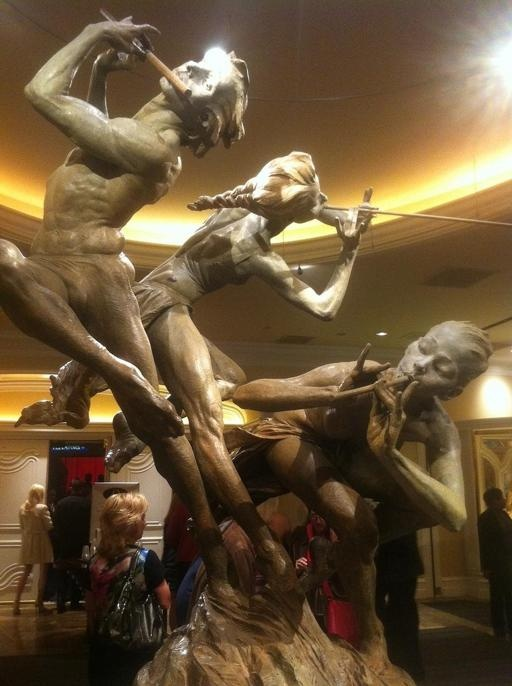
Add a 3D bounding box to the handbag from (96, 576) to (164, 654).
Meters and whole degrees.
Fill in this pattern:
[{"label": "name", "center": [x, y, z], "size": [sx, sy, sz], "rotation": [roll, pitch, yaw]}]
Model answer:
[{"label": "handbag", "center": [-0.370, 0.875, 1.895], "size": [0.133, 0.202, 0.191], "rotation": [-3, -10, -32]}]
